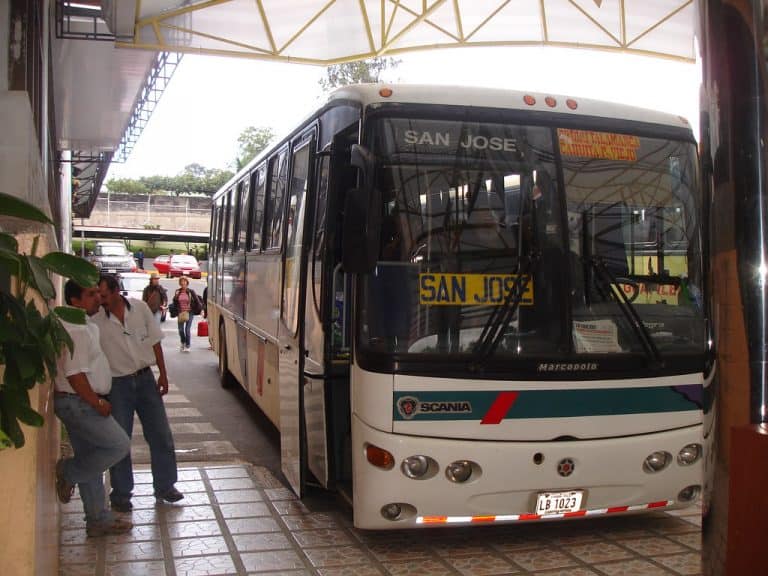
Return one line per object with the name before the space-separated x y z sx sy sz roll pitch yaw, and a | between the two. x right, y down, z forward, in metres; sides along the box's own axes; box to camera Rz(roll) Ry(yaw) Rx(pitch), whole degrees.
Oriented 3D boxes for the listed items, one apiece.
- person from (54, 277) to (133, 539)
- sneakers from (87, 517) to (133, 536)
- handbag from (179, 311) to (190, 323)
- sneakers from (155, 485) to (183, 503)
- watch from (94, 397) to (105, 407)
person | -2.641 1.102 5.886 0.635 2.332 0.646 -1 2 -26
sneakers | -2.534 2.183 6.019 0.419 0.205 0.164 0 2 -12
handbag | -5.807 0.820 18.759 0.274 0.383 0.123 -5 10 -22
sneakers | -2.208 2.134 6.745 0.322 0.156 0.134 0 1 8
watch | -2.544 1.018 5.784 0.062 0.065 0.017 10 -38 -23
